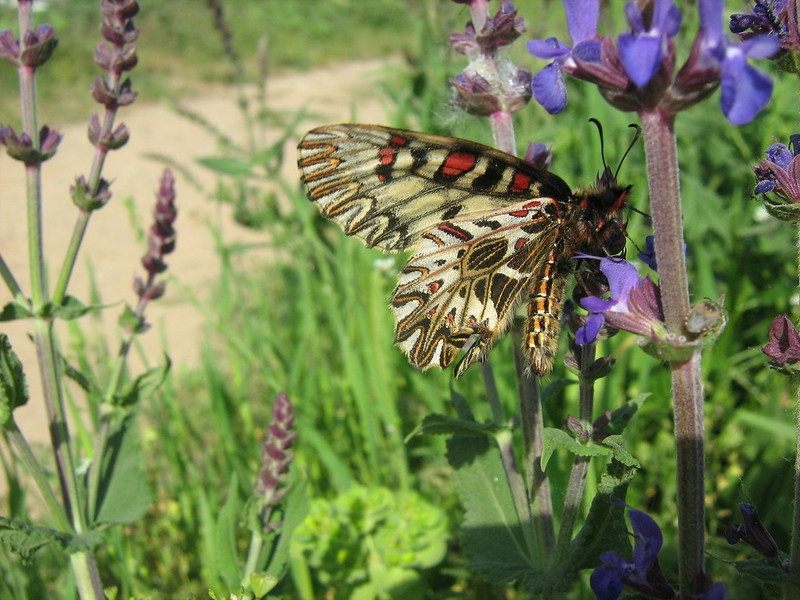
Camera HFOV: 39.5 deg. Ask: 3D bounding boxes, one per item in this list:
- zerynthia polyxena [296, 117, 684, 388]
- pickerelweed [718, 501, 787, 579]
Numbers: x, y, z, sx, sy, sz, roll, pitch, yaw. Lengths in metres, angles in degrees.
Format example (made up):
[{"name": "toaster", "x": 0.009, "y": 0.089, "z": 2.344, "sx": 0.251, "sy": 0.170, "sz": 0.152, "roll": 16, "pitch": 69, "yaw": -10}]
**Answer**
[{"name": "zerynthia polyxena", "x": 0.241, "y": -0.436, "z": 4.344, "sx": 1.247, "sy": 1.258, "sz": 1.286, "roll": 0, "pitch": 36, "yaw": -10}, {"name": "pickerelweed", "x": 1.167, "y": 0.784, "z": 3.653, "sx": 0.191, "sy": 0.240, "sz": 0.176, "roll": -7, "pitch": 14, "yaw": 16}]
